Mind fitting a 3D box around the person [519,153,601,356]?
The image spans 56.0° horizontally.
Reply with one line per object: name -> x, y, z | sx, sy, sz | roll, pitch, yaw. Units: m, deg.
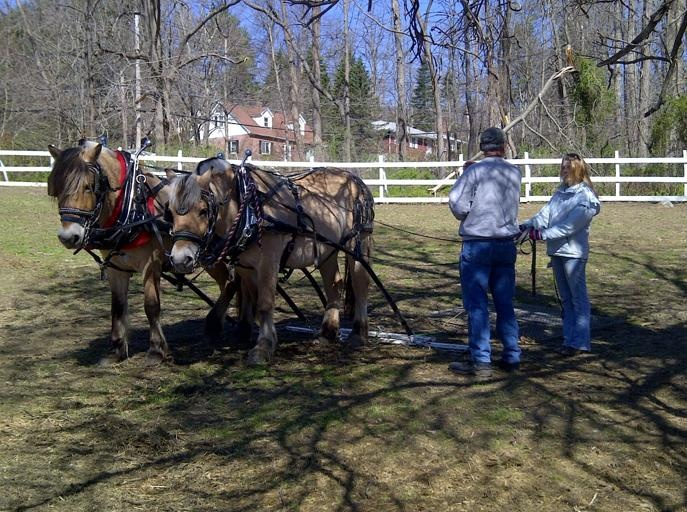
person -> 2.734, -0.034, 7.956 | 0.913, 2.366, 0.905 | 1, 14, 0

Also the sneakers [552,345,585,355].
sneakers -> 2.760, 1.148, 7.896 | 0.308, 0.145, 0.118 | 5, 4, 29

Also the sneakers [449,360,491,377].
sneakers -> 1.408, 1.194, 7.183 | 0.449, 0.220, 0.176 | 7, 9, 27

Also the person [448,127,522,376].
person -> 1.587, -0.064, 7.124 | 0.874, 2.623, 0.790 | 2, 14, 4

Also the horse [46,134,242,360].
horse -> -2.290, 0.002, 8.272 | 0.883, 2.424, 3.493 | 4, 2, 31

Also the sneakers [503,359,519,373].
sneakers -> 1.883, 1.228, 7.297 | 0.086, 0.109, 0.230 | -7, 3, -33

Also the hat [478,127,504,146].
hat -> 1.653, -1.328, 7.144 | 0.177, 0.146, 0.244 | 2, 15, 16

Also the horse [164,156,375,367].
horse -> -0.772, 0.096, 8.192 | 0.980, 2.431, 3.648 | 1, 3, 39
